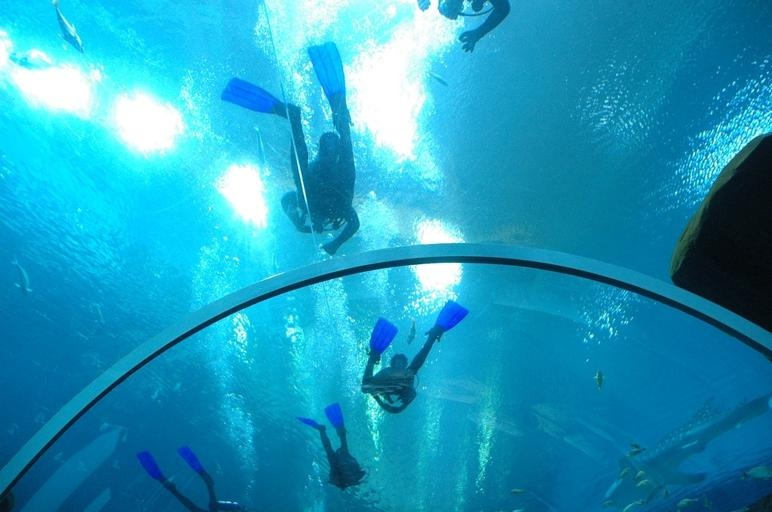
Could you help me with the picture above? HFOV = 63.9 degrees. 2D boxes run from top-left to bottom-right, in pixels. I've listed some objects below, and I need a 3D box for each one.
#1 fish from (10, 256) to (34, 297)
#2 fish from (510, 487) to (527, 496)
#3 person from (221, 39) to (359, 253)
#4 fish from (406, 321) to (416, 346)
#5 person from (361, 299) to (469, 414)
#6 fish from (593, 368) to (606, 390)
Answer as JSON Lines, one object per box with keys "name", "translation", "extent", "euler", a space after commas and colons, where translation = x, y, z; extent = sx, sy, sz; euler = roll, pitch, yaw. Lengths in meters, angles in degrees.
{"name": "fish", "translation": [-3.319, 0.189, 5.617], "extent": [0.086, 0.154, 0.295], "euler": [-31, -79, -34]}
{"name": "fish", "translation": [1.092, 1.923, 5.047], "extent": [0.148, 0.049, 0.041], "euler": [-10, -86, 2]}
{"name": "person", "translation": [-0.743, -0.996, 5.865], "extent": [1.366, 0.513, 1.878], "euler": [-4, -83, 10]}
{"name": "fish", "translation": [0.222, 0.625, 5.013], "extent": [0.064, 0.077, 0.194], "euler": [7, -102, 24]}
{"name": "person", "translation": [0.155, 0.832, 4.984], "extent": [0.665, 0.288, 1.038], "euler": [18, -74, 7]}
{"name": "fish", "translation": [1.685, 0.966, 4.850], "extent": [0.078, 0.048, 0.151], "euler": [-6, -97, 14]}
